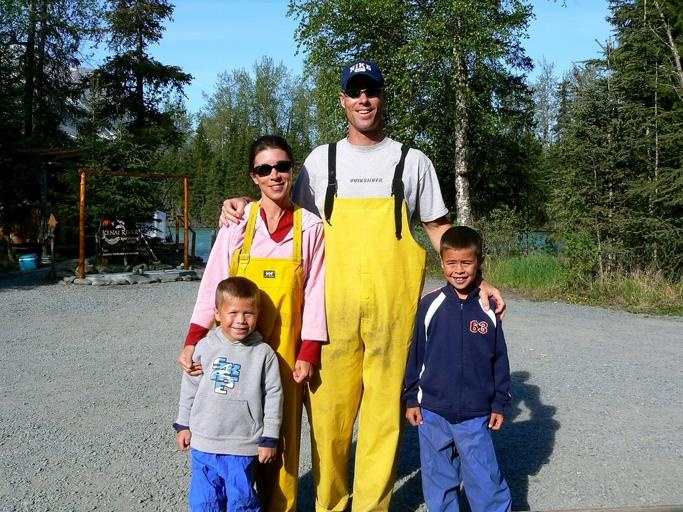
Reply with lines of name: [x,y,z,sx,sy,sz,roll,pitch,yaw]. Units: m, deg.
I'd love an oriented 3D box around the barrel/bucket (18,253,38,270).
barrel/bucket: [-10.638,0.202,18.744,0.507,0.507,0.513,1,4,0]

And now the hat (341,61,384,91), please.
hat: [0.157,-1.325,3.970,0.268,0.232,0.475,-1,22,4]
